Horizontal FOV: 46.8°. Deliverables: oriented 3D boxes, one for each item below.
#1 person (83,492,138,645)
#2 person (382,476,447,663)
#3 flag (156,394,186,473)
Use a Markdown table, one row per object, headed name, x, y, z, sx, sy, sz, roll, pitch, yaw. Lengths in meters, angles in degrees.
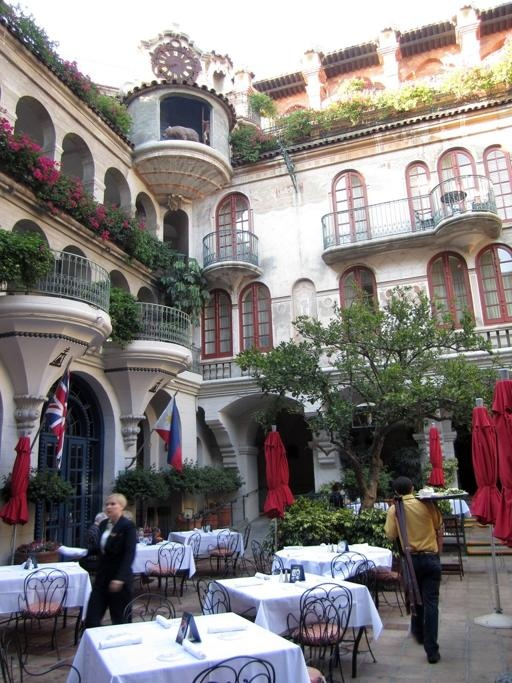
| name | x | y | z | sx | sy | sz | roll | pitch | yaw |
| --- | --- | --- | --- | --- | --- | --- | --- | --- | --- |
| person | -1.220 | 1.901 | 5.001 | 0.429 | 1.140 | 0.715 | 8 | -9 | -12 |
| person | 1.495 | 2.113 | 5.566 | 0.540 | 1.608 | 0.822 | 3 | -10 | 21 |
| flag | -1.901 | 2.023 | 12.895 | 0.665 | 1.568 | 0.712 | 7 | -9 | -7 |
